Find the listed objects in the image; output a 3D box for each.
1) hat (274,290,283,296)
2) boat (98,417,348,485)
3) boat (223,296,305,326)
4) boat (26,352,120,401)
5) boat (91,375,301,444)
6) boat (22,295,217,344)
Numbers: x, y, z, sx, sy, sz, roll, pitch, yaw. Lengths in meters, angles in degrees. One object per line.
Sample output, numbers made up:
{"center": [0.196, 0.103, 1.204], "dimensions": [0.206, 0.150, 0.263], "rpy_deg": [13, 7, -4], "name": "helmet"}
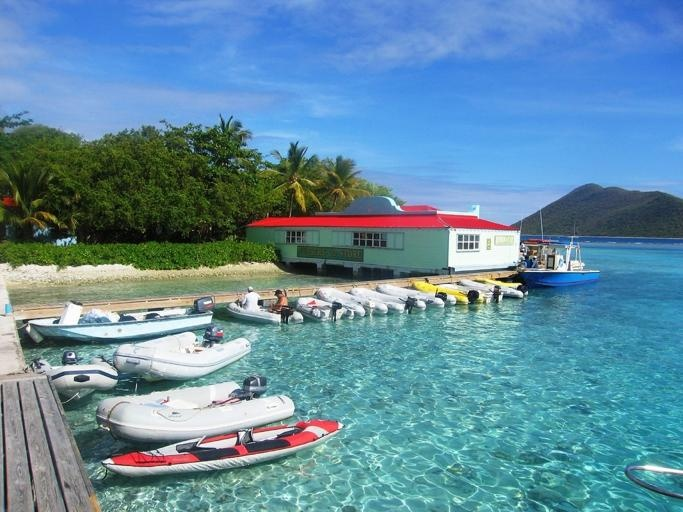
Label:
{"center": [-2.885, 1.681, 21.580], "dimensions": [0.315, 0.111, 0.357], "rpy_deg": [2, 4, 17], "name": "hat"}
{"center": [-2.582, 4.123, 10.100], "dimensions": [5.262, 0.580, 1.375], "rpy_deg": [0, -2, -13], "name": "boat"}
{"center": [-3.613, 2.590, 20.976], "dimensions": [3.511, 0.717, 1.122], "rpy_deg": [7, 14, 26], "name": "boat"}
{"center": [-7.022, 3.271, 12.344], "dimensions": [1.642, 0.637, 1.879], "rpy_deg": [10, -3, -41], "name": "boat"}
{"center": [-3.342, 3.568, 10.882], "dimensions": [3.541, 0.707, 1.842], "rpy_deg": [1, 1, -29], "name": "boat"}
{"center": [-8.450, 2.475, 17.569], "dimensions": [7.584, 1.374, 2.370], "rpy_deg": [2, 1, -34], "name": "boat"}
